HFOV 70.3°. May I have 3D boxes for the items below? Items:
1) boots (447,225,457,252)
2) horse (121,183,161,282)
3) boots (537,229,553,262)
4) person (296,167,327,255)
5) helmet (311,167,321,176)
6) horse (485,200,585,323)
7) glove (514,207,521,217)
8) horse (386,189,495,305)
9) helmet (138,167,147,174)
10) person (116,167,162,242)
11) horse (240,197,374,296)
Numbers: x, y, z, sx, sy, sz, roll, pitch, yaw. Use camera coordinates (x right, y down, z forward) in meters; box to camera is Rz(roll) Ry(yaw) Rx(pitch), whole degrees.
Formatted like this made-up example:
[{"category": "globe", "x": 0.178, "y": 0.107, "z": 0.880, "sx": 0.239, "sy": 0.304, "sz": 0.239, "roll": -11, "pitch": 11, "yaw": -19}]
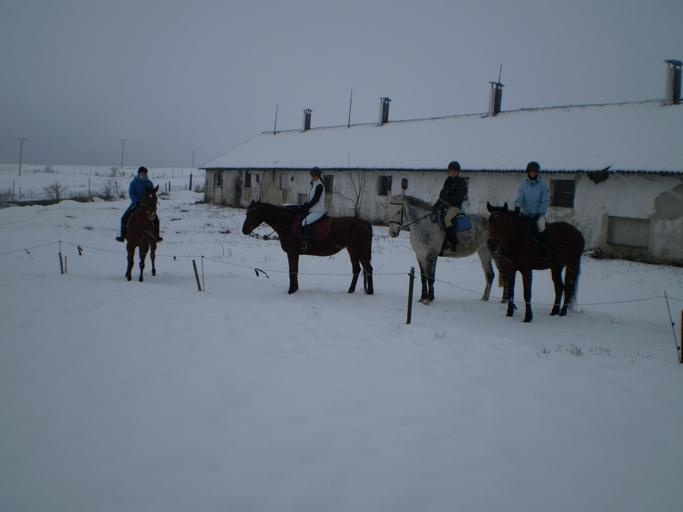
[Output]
[{"category": "boots", "x": 2.425, "y": -0.371, "z": 10.625, "sx": 0.223, "sy": 0.589, "sz": 0.162, "roll": -5, "pitch": 8, "yaw": -42}, {"category": "horse", "x": -4.957, "y": -0.363, "z": 11.994, "sx": 0.677, "sy": 2.238, "sz": 2.610, "roll": 6, "pitch": -11, "yaw": -27}, {"category": "boots", "x": 3.936, "y": -0.202, "z": 9.385, "sx": 0.151, "sy": 0.783, "sz": 0.412, "roll": -11, "pitch": 33, "yaw": 9}, {"category": "person", "x": -0.668, "y": -0.867, "z": 10.961, "sx": 0.583, "sy": 1.606, "sz": 0.360, "roll": 0, "pitch": 6, "yaw": -3}, {"category": "helmet", "x": -0.577, "y": -1.838, "z": 10.750, "sx": 0.209, "sy": 0.205, "sz": 0.534, "roll": 0, "pitch": 9, "yaw": -6}, {"category": "horse", "x": 3.960, "y": 0.125, "z": 9.721, "sx": 2.587, "sy": 2.288, "sz": 0.728, "roll": 1, "pitch": 2, "yaw": -23}, {"category": "glove", "x": 3.440, "y": -0.851, "z": 9.451, "sx": 0.138, "sy": 0.170, "sz": 0.423, "roll": 4, "pitch": 9, "yaw": 21}, {"category": "horse", "x": 2.164, "y": -0.181, "z": 10.742, "sx": 2.258, "sy": 2.290, "sz": 0.749, "roll": 1, "pitch": 6, "yaw": -2}, {"category": "helmet", "x": -4.904, "y": -2.086, "z": 11.880, "sx": 0.194, "sy": 0.147, "sz": 0.304, "roll": -3, "pitch": 10, "yaw": -29}, {"category": "person", "x": -5.056, "y": -1.301, "z": 12.091, "sx": 0.743, "sy": 1.853, "sz": 1.027, "roll": 0, "pitch": 5, "yaw": -32}, {"category": "horse", "x": -0.995, "y": -0.136, "z": 12.696, "sx": 2.426, "sy": 2.537, "sz": 0.911, "roll": 0, "pitch": 8, "yaw": -2}]
